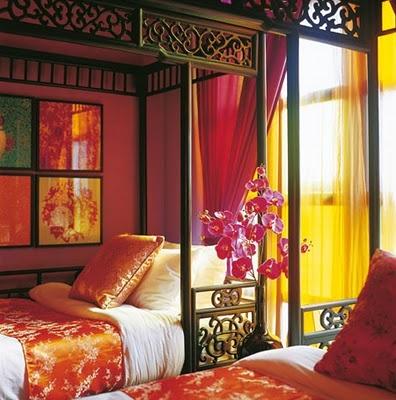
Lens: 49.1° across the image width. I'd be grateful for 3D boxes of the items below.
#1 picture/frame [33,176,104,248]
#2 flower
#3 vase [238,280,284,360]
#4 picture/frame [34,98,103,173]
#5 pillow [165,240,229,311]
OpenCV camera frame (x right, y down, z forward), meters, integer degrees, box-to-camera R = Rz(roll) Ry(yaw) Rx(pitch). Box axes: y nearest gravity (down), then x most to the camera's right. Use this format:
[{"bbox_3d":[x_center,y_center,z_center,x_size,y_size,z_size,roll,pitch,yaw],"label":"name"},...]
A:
[{"bbox_3d":[-1.029,0.080,3.345,0.537,0.615,0.025,-3,4,-43],"label":"picture/frame"},{"bbox_3d":[0.355,0.139,2.444,0.582,0.919,0.584,0,-26,12],"label":"flower"},{"bbox_3d":[0.283,0.540,1.971,0.170,0.375,0.128,4,-4,-22],"label":"vase"},{"bbox_3d":[-1.036,-0.519,3.370,0.564,0.675,0.037,-3,4,-31],"label":"picture/frame"},{"bbox_3d":[-0.005,0.468,2.712,0.155,0.324,0.305,-1,-2,-29],"label":"pillow"}]
